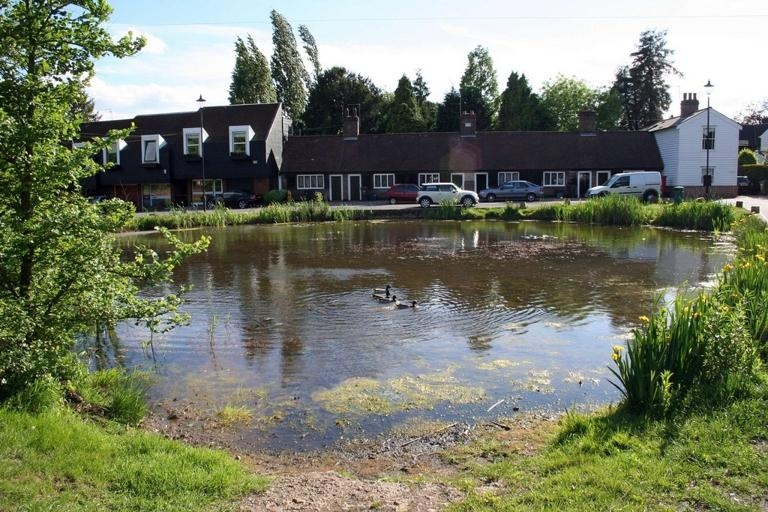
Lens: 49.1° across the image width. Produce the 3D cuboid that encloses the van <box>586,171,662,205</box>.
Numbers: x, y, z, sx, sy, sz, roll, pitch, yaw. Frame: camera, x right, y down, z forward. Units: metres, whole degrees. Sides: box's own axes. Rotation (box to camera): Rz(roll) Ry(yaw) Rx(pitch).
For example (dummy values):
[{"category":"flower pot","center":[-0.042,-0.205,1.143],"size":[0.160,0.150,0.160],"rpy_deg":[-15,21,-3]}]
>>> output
[{"category":"van","center":[12.311,-3.484,41.904],"size":[2.711,1.506,2.562],"rpy_deg":[-2,5,-34]}]

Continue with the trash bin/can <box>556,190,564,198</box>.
[{"category":"trash bin/can","center":[10.703,-3.838,50.987],"size":[0.426,0.448,0.244],"rpy_deg":[-3,-8,-5]}]

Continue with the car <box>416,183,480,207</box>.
[{"category":"car","center":[3.286,-3.224,43.569],"size":[2.560,1.080,1.452],"rpy_deg":[-1,12,6]}]

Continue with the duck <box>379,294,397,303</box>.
[{"category":"duck","center":[0.055,0.915,18.262],"size":[0.478,0.232,0.146],"rpy_deg":[1,6,16]}]

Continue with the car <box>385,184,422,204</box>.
[{"category":"car","center":[1.141,-3.554,47.625],"size":[1.728,0.875,0.950],"rpy_deg":[-4,16,5]}]

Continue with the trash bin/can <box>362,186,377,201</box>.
[{"category":"trash bin/can","center":[-0.934,-3.831,51.538],"size":[1.110,1.149,0.697],"rpy_deg":[0,1,-5]}]

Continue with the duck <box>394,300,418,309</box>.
[{"category":"duck","center":[0.478,1.020,17.903],"size":[0.508,0.228,0.177],"rpy_deg":[-2,10,0]}]

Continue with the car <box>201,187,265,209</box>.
[{"category":"car","center":[-9.154,-3.138,49.326],"size":[3.447,1.162,1.623],"rpy_deg":[4,6,7]}]
